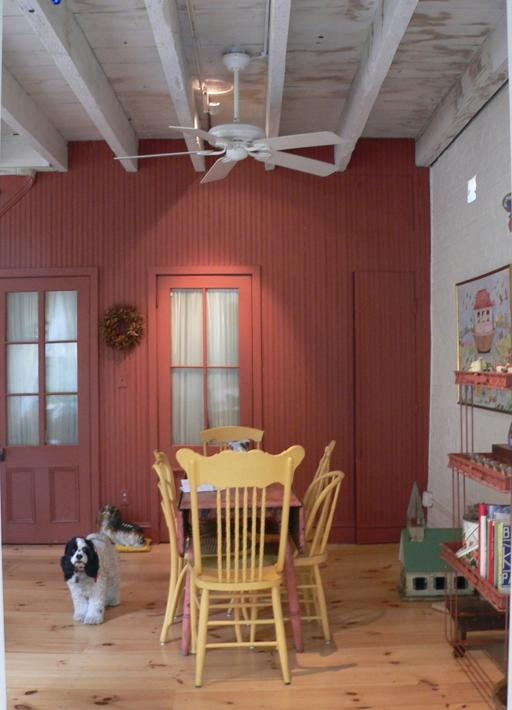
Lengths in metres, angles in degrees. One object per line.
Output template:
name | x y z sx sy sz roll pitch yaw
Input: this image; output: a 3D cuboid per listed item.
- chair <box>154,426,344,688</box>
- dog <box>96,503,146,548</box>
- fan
chair | -0.019 0.866 2.865 0.844 0.990 1.097 0 0 -8
dog | -0.941 1.202 4.638 0.347 0.270 0.249 15 -12 2
fan | -0.011 -1.184 3.194 0.939 0.469 1.049 7 4 -8
